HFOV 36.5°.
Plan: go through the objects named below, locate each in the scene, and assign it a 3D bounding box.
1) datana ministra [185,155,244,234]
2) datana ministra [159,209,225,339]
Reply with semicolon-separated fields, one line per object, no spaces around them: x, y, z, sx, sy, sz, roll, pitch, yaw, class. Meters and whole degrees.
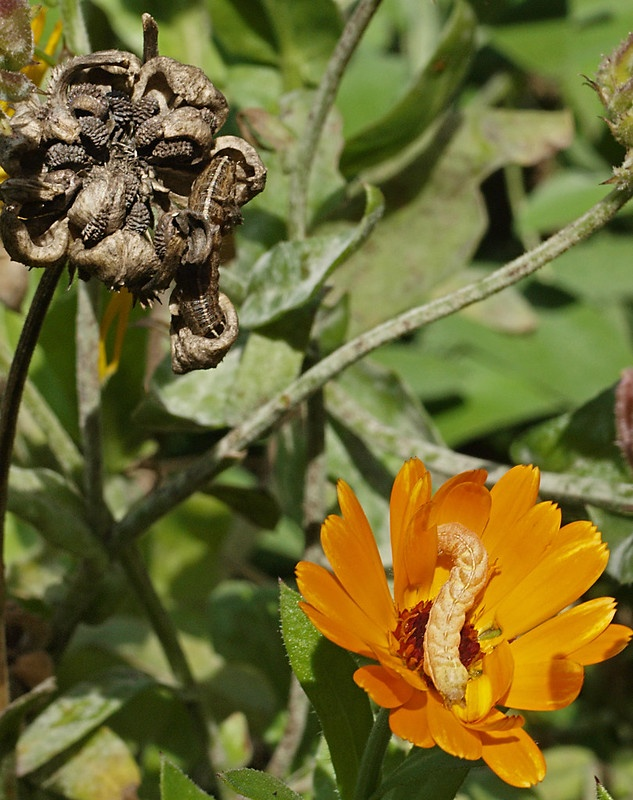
-0.044;-0.085;0.406;0.023;0.033;0.020;-2;12;-15;datana ministra
-0.052;-0.052;0.402;0.024;0.051;0.020;-3;15;-18;datana ministra
